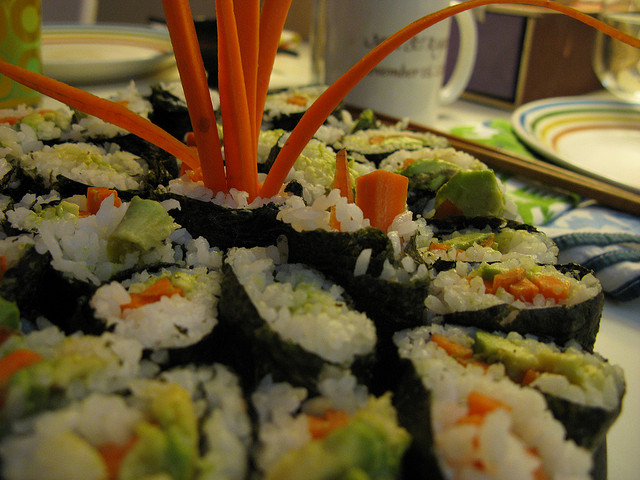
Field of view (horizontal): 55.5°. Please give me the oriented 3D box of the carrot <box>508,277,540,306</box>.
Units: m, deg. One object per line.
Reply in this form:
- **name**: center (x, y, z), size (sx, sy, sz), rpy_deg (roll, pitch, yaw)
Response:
- **carrot**: center (0.209, 0.052, 0.618), size (0.023, 0.016, 0.023), rpy_deg (-34, 53, -20)

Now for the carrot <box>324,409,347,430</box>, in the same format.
- **carrot**: center (0.014, 0.165, 0.555), size (0.018, 0.005, 0.019), rpy_deg (2, 45, -4)

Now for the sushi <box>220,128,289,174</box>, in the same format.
- **sushi**: center (-0.082, -0.117, 0.770), size (0.050, 0.066, 0.073), rpy_deg (-6, 12, -28)

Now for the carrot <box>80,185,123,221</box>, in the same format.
- **carrot**: center (-0.240, -0.040, 0.676), size (0.041, 0.046, 0.043), rpy_deg (13, -6, -23)

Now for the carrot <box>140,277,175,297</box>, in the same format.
- **carrot**: center (-0.156, 0.047, 0.586), size (0.021, 0.006, 0.020), rpy_deg (-30, 48, -21)

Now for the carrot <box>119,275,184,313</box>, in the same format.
- **carrot**: center (-0.163, 0.050, 0.589), size (0.060, 0.020, 0.026), rpy_deg (-5, 39, -17)

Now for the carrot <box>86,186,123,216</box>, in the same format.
- **carrot**: center (-0.240, -0.048, 0.680), size (0.034, 0.034, 0.033), rpy_deg (5, 37, -11)

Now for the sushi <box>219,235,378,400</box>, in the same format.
- **sushi**: center (-0.028, 0.074, 0.578), size (0.114, 0.067, 0.148), rpy_deg (-12, 46, -37)

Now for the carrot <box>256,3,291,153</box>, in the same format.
- **carrot**: center (-0.047, -0.192, 0.654), size (0.022, 0.120, 0.036), rpy_deg (-5, 20, -13)

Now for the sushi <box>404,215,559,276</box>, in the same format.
- **sushi**: center (0.180, -0.021, 0.679), size (0.129, 0.078, 0.084), rpy_deg (-3, 13, -19)

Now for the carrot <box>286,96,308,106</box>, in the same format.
- **carrot**: center (-0.039, -0.242, 1.051), size (0.024, 0.008, 0.025), rpy_deg (-6, 32, -19)

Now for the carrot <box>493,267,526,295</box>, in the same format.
- **carrot**: center (0.195, 0.043, 0.626), size (0.021, 0.008, 0.021), rpy_deg (-29, 31, 3)

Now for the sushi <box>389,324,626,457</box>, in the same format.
- **sushi**: center (0.171, 0.121, 0.555), size (0.165, 0.066, 0.127), rpy_deg (21, 27, 38)

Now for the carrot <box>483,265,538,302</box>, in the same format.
- **carrot**: center (0.198, 0.045, 0.625), size (0.037, 0.018, 0.039), rpy_deg (-19, 40, -13)

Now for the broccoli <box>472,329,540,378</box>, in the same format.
- **broccoli**: center (0.174, 0.105, 0.578), size (0.066, 0.016, 0.035), rpy_deg (29, 42, 23)

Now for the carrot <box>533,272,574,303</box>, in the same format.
- **carrot**: center (0.240, 0.049, 0.621), size (0.028, 0.009, 0.032), rpy_deg (-4, 39, -12)

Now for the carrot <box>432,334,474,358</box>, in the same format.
- **carrot**: center (0.127, 0.102, 0.582), size (0.034, 0.010, 0.019), rpy_deg (29, 55, 13)

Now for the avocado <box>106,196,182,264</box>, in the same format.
- **avocado**: center (-0.184, -0.008, 0.613), size (0.056, 0.070, 0.026), rpy_deg (32, -14, -12)

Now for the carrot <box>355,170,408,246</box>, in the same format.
- **carrot**: center (0.066, -0.033, 0.657), size (0.063, 0.105, 0.052), rpy_deg (-3, 11, -11)

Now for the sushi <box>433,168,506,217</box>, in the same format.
- **sushi**: center (0.181, -0.062, 0.748), size (0.063, 0.058, 0.064), rpy_deg (0, 8, -26)
